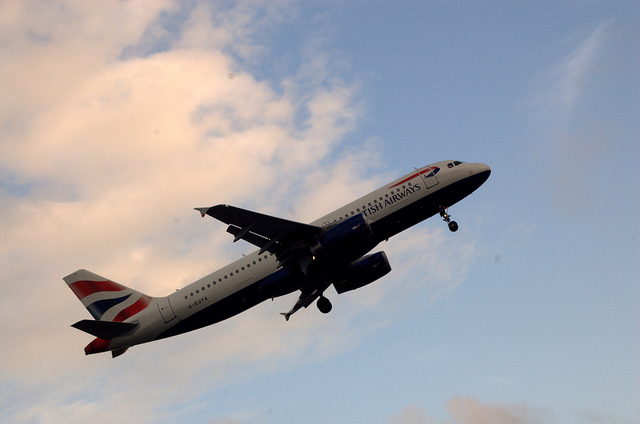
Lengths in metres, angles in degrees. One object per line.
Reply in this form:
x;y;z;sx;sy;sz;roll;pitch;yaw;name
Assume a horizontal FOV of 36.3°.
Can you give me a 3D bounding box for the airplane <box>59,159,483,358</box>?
-3.450;4.183;74.270;21.523;7.412;19.448;-22;-27;-15;airplane
